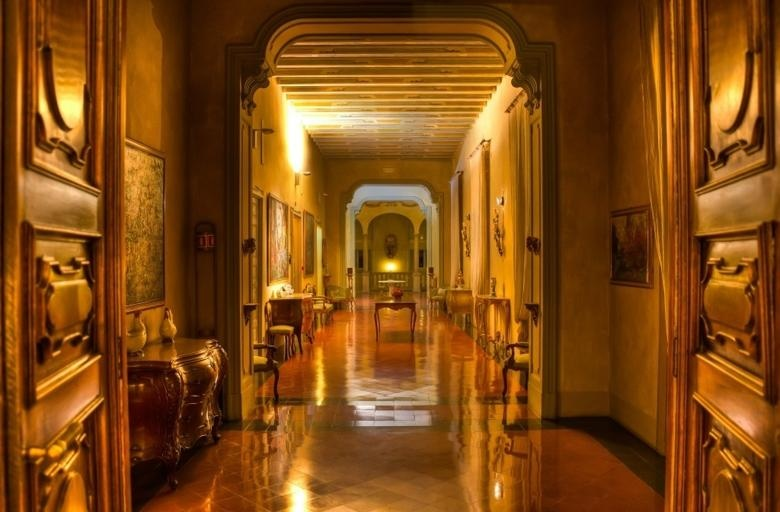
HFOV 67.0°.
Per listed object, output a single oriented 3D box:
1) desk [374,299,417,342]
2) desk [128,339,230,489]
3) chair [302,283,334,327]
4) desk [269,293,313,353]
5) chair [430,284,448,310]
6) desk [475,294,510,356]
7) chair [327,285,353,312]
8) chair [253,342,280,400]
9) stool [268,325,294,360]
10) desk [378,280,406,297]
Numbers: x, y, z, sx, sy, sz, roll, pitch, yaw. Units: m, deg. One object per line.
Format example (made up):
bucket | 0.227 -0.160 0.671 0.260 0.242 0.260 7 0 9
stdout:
desk | 0.121 1.291 12.163 0.799 0.807 0.863 0 -4 3
desk | -1.954 1.371 5.237 0.681 0.945 1.291 -2 0 4
chair | -1.608 1.075 13.244 0.454 0.787 0.551 -2 7 -10
desk | -1.765 1.257 10.687 0.512 1.016 1.625 -1 -6 -1
chair | 1.353 1.135 16.561 0.593 0.821 0.693 -2 -13 11
desk | 1.857 1.111 10.861 0.455 0.872 1.728 -1 0 3
chair | -1.374 1.151 16.909 0.772 1.000 0.740 1 -9 -15
chair | -1.571 1.396 7.519 0.303 0.707 1.213 -1 2 -12
stool | -1.773 1.379 9.586 0.383 0.519 0.383 2 0 0
desk | 0.145 1.422 23.646 0.987 0.693 1.069 0 0 10
